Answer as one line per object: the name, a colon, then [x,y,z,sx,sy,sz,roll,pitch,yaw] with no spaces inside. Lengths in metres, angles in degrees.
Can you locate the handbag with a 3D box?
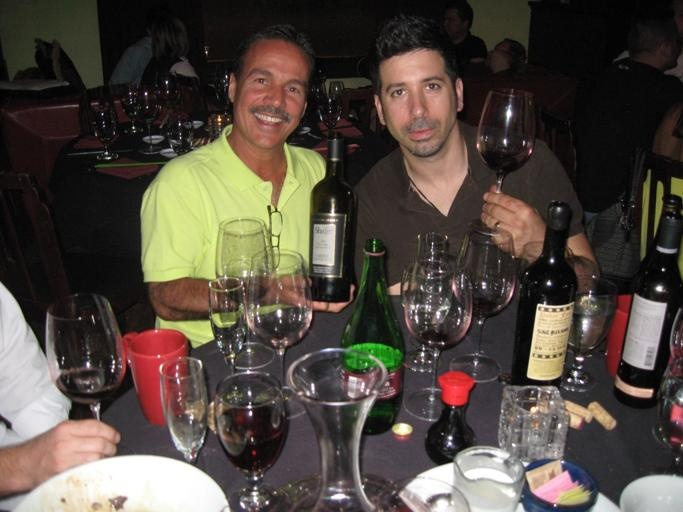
handbag: [1.408,-0.231,2.806,0.199,0.318,0.715,4,-28,12]

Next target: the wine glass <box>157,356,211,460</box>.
wine glass: [-0.354,0.347,1.261,0.097,0.221,0.143,-7,17,-20]

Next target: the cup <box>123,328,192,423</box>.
cup: [-0.456,0.274,1.398,0.137,0.215,0.217,-5,15,-22]

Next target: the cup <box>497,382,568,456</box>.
cup: [0.429,0.371,1.307,0.143,0.161,0.152,0,9,0]

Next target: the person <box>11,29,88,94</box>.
person: [-3.470,-2.276,6.567,0.684,0.588,0.725,-9,18,-28]

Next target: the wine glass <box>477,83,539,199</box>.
wine glass: [0.582,-0.406,1.974,0.187,0.348,0.283,5,17,17]
